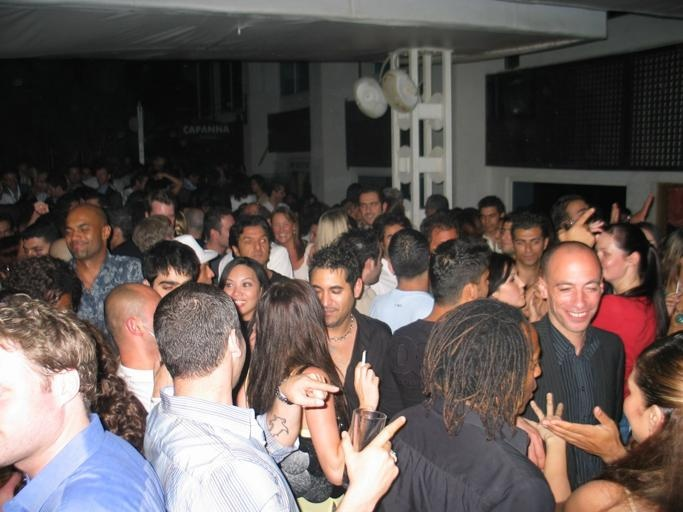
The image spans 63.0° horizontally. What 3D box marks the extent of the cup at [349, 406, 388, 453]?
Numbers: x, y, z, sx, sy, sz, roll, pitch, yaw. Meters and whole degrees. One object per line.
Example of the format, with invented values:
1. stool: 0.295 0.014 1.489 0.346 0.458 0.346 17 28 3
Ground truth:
1. cup: 0.128 0.702 2.310 0.136 0.235 0.147 17 -9 3
